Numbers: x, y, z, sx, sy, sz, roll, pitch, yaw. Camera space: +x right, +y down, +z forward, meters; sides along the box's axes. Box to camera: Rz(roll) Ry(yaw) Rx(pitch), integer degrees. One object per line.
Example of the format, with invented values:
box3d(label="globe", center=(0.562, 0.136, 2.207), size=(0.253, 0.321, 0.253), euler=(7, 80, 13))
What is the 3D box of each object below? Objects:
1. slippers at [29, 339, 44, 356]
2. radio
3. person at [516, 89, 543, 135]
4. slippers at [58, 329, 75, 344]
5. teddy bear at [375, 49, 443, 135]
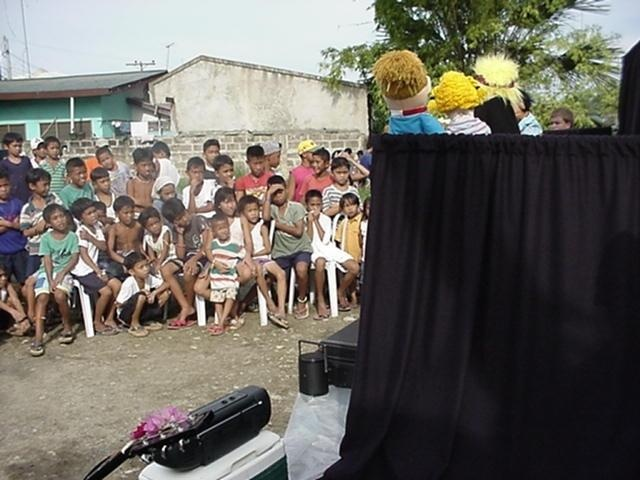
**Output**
box3d(label="slippers", center=(-2.687, 1.014, 5.241), size=(0.131, 0.122, 0.194), euler=(-10, 14, -30))
box3d(label="radio", center=(-0.560, 0.906, 2.855), size=(0.269, 0.243, 0.575), euler=(14, 24, 41))
box3d(label="person", center=(1.693, -1.030, 4.448), size=(0.166, 0.342, 0.928), euler=(1, 13, 20))
box3d(label="slippers", center=(-2.537, 0.944, 5.521), size=(0.141, 0.128, 0.233), euler=(-9, 13, -24))
box3d(label="teddy bear", center=(0.525, -0.896, 3.347), size=(0.381, 0.496, 0.242), euler=(3, 13, 29))
